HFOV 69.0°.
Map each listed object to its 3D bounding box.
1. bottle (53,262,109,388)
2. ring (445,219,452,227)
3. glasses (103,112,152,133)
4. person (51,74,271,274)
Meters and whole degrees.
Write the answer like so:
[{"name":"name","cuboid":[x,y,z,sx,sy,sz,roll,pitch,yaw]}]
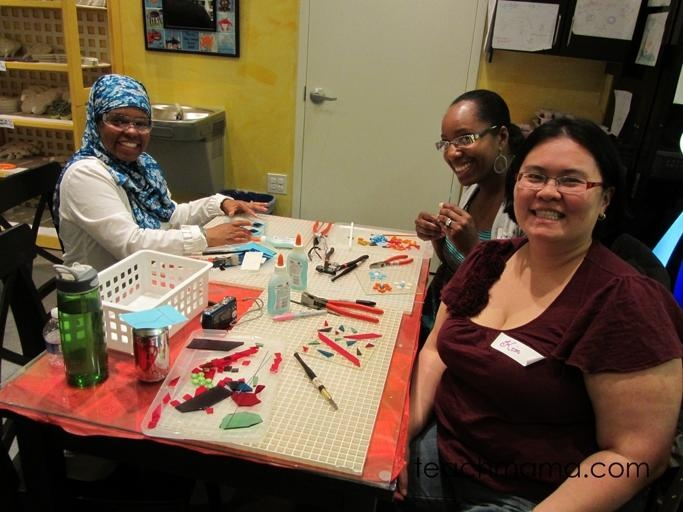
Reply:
[{"name":"bottle","cuboid":[-0.740,0.207,1.481,0.156,0.339,0.150,3,20,-1]},{"name":"ring","cuboid":[0.473,-0.146,2.187,0.006,0.027,0.026,18,-28,-40]},{"name":"glasses","cuboid":[-0.978,-0.606,2.268,0.209,0.094,0.085,-7,25,-22]},{"name":"person","cuboid":[-0.757,-0.257,2.565,0.972,1.136,0.902,10,25,11]}]
